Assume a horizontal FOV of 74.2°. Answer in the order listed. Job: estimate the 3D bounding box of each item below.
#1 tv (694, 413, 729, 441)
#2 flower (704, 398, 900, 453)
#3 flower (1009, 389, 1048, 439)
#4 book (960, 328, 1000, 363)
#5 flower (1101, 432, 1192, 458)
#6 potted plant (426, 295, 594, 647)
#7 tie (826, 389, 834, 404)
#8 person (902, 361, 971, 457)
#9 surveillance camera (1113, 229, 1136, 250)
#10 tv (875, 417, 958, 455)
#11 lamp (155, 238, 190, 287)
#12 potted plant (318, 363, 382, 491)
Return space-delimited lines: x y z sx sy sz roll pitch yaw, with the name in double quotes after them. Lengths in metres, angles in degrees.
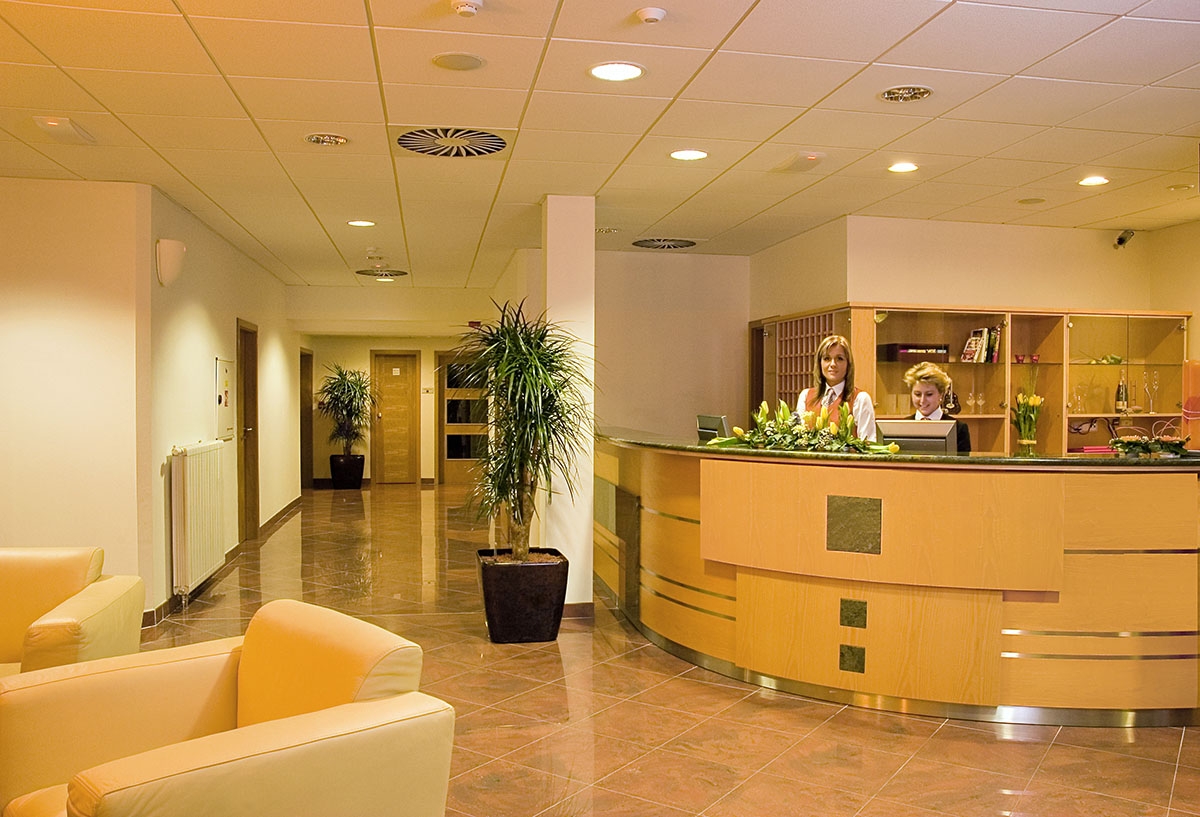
0.929 0.133 6.340 0.337 0.206 0.123 5 25 42 "tv"
1.367 0.130 5.492 1.290 0.317 0.596 2 4 21 "flower"
2.933 0.070 5.479 0.129 0.317 0.440 2 4 25 "flower"
3.969 -0.664 8.327 0.344 0.368 0.190 2 5 25 "book"
3.514 0.247 5.086 0.505 0.113 0.155 0 4 -7 "flower"
-0.610 0.472 6.604 1.111 2.735 1.040 0 4 -5 "potted plant"
1.832 -0.097 6.349 0.063 0.084 0.025 -5 -9 44 "tie"
2.576 0.150 6.289 0.611 0.906 0.457 4 -1 24 "person"
5.634 -1.830 8.536 0.330 0.206 0.122 -2 5 -27 "surveillance camera"
2.155 0.188 5.440 0.469 0.219 0.434 2 -4 12 "tv"
-3.719 -1.271 6.935 0.186 0.390 0.502 -2 4 -21 "lamp"
-4.787 0.351 15.079 1.006 2.254 0.674 0 4 -4 "potted plant"
